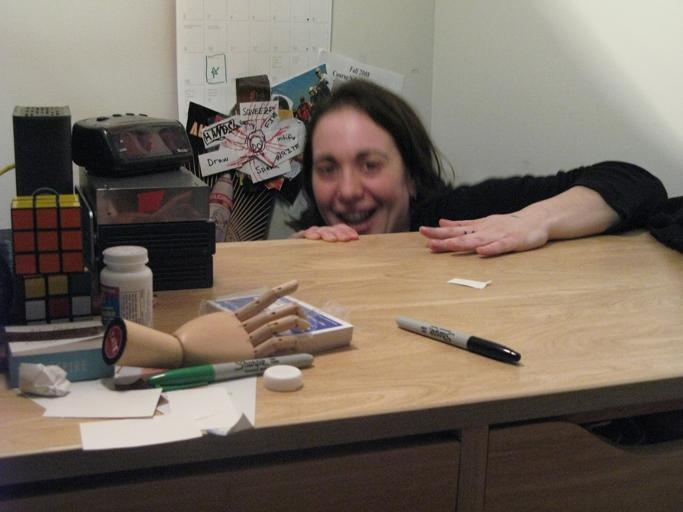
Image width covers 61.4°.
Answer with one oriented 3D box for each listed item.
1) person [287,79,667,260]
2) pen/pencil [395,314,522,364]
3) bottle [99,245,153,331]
[{"bbox_3d":[0.404,-0.279,1.793,1.182,0.496,0.923,4,15,31],"label":"person"},{"bbox_3d":[0.158,0.117,0.789,0.019,0.018,0.138,11,5,-43],"label":"pen/pencil"},{"bbox_3d":[-0.273,0.046,0.734,0.063,0.106,0.062,5,14,-1],"label":"bottle"}]
